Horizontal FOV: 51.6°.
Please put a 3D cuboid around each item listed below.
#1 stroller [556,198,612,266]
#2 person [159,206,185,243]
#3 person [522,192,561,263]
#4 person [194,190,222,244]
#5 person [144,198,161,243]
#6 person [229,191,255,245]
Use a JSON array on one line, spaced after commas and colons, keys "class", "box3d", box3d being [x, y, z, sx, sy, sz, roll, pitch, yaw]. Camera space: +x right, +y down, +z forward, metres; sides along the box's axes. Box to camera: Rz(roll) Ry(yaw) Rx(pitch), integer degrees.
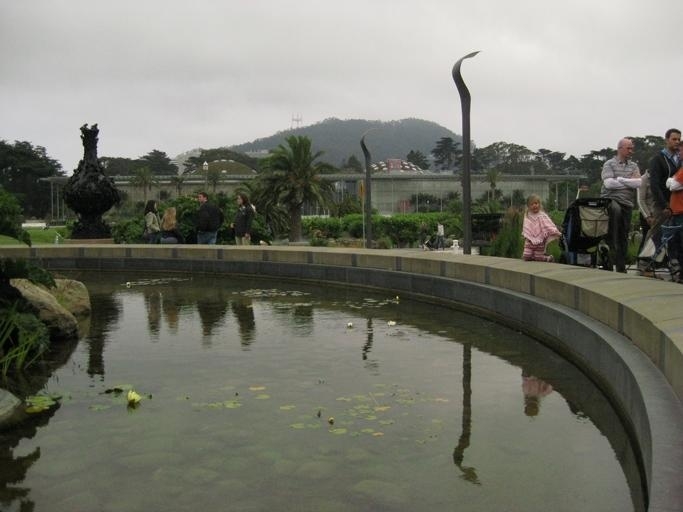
[{"class": "stroller", "box3d": [3.912, -0.372, 11.488, 0.760, 1.292, 1.035, 3, -1, 4]}, {"class": "person", "box3d": [-4.552, -0.808, 18.865, 0.529, 1.065, 1.188, -3, 8, -15]}, {"class": "person", "box3d": [3.320, -0.461, 11.878, 0.747, 1.143, 0.790, 6, 11, 42]}, {"class": "person", "box3d": [-3.439, -0.997, 18.283, 0.616, 1.404, 1.275, -2, 8, -11]}, {"class": "person", "box3d": [-5.301, -0.964, 19.712, 0.453, 1.286, 1.388, -3, 8, -16]}, {"class": "person", "box3d": [-2.544, -0.965, 18.195, 0.565, 1.352, 1.656, -2, 8, -9]}]
